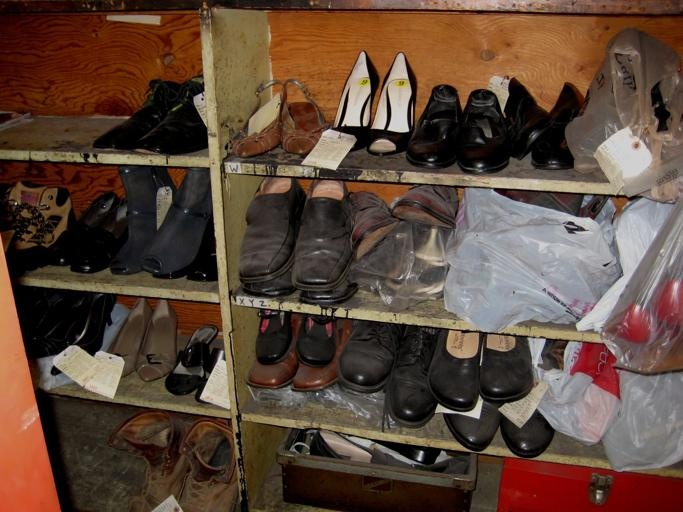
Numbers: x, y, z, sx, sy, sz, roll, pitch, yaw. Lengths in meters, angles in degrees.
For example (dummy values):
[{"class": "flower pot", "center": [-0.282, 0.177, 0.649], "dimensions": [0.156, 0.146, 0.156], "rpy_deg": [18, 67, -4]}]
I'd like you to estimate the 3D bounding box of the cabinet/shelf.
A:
[{"class": "cabinet/shelf", "center": [0.048, -0.025, 1.524], "dimensions": [1.733, 1.498, 0.510], "rpy_deg": [1, 10, 9]}]
